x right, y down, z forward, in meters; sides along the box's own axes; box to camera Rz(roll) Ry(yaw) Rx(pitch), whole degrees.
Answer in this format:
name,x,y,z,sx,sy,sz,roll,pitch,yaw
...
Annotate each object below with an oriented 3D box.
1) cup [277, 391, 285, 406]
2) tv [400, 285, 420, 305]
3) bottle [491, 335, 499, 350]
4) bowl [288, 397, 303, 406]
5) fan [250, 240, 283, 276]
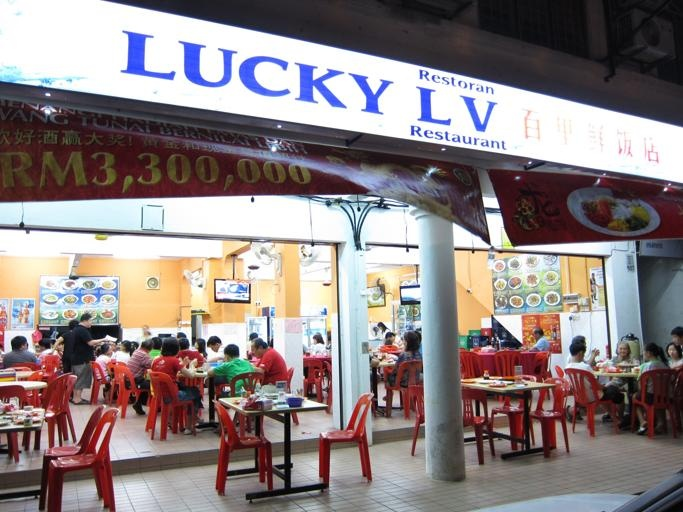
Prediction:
name,x,y,z,sx,sy,sz,roll,pitch,yaw
cup,-0.639,1.517,5.938,0.100,0.150,0.116,-2,-5,-8
tv,1.819,1.002,14.844,0.465,0.526,0.653,-3,-5,0
bottle,3.617,2.047,13.141,0.309,0.291,0.195,-1,3,-39
bowl,-0.502,1.551,5.932,0.106,0.058,0.104,0,-7,0
fan,-1.408,0.014,10.648,0.504,0.653,1.354,-2,-5,-6
